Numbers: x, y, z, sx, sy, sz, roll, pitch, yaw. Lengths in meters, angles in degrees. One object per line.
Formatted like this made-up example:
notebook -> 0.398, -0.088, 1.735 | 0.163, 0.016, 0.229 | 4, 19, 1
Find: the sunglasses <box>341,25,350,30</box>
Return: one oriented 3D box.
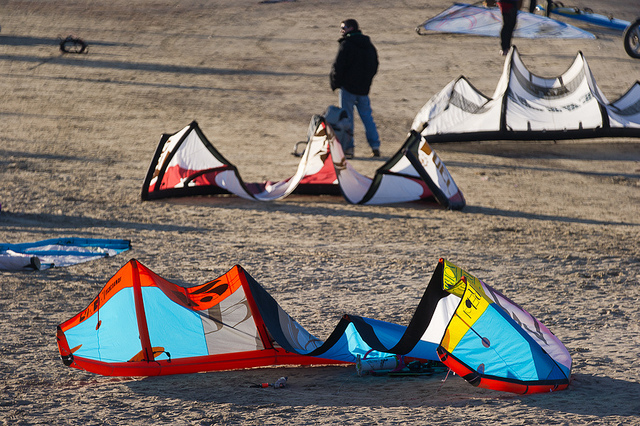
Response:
sunglasses -> 0.531, -3.779, 35.417 | 0.045, 0.117, 0.181 | -15, 26, -43
